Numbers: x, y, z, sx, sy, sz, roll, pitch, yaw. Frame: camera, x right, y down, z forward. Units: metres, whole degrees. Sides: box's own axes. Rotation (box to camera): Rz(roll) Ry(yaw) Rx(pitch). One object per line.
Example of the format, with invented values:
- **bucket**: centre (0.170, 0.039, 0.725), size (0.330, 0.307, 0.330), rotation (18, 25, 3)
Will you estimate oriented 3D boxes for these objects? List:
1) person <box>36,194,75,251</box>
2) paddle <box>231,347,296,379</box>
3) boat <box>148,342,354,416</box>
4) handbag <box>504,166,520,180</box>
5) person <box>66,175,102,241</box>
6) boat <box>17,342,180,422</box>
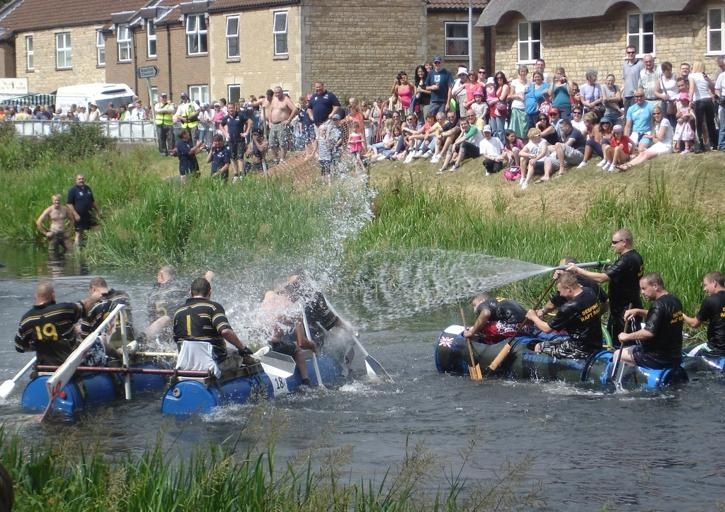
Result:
- **person**: centre (-9.776, -0.771, 50.370), size (1.115, 2.660, 0.673), rotation (-3, 30, -8)
- **paddle**: centre (-2.136, 2.566, 37.474), size (1.052, 0.452, 0.660), rotation (18, 7, 1)
- **boat**: centre (-2.590, 3.035, 37.235), size (4.973, 1.519, 1.520), rotation (-10, 14, -39)
- **handbag**: centre (4.647, -2.501, 47.991), size (0.552, 0.434, 0.241), rotation (-1, 3, 24)
- **person**: centre (-8.974, -1.317, 50.390), size (0.864, 2.574, 0.637), rotation (-11, 19, -30)
- **boat**: centre (-6.270, 3.095, 37.189), size (1.645, 1.330, 3.194), rotation (-8, 1, 37)
